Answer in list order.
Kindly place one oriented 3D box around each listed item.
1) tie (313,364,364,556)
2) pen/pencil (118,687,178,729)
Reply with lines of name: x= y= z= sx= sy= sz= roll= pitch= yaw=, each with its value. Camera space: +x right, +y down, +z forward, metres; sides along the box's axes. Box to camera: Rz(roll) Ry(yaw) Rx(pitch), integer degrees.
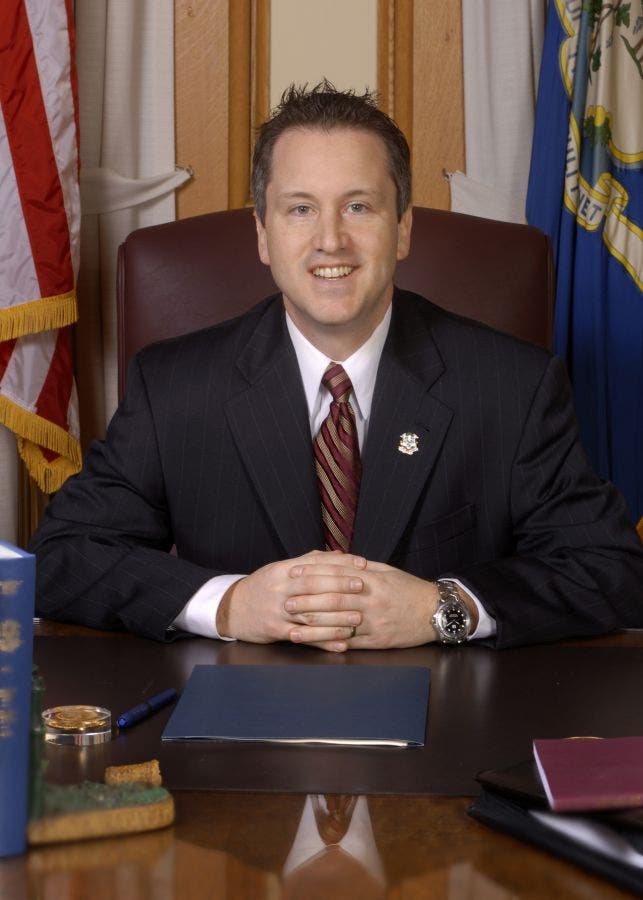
tie: x=0.028 y=0.022 z=1.423 sx=0.081 sy=0.363 sz=0.035 roll=2 pitch=-13 yaw=-8
pen/pencil: x=-0.169 y=0.254 z=0.766 sx=0.014 sy=0.014 sz=0.098 roll=11 pitch=15 yaw=11
